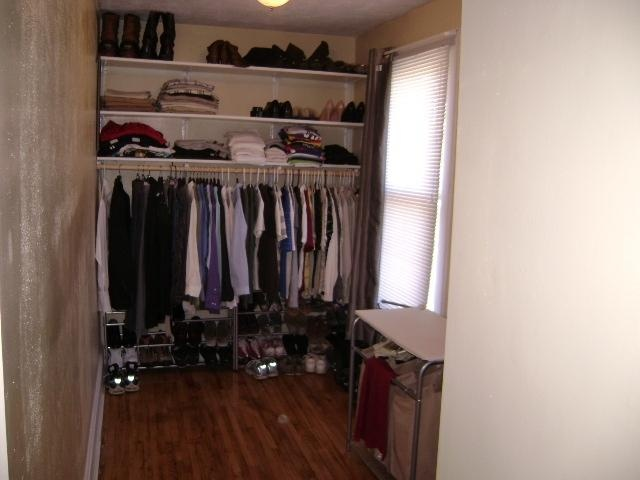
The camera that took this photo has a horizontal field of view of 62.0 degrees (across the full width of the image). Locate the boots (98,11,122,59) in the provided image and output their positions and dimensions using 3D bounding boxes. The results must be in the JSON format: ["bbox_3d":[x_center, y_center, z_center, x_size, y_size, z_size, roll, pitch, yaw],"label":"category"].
[{"bbox_3d":[-1.615,-1.565,4.067,0.148,0.353,0.173,0,10,-24],"label":"boots"}]

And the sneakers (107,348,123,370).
[{"bbox_3d":[-1.589,0.928,4.143,0.104,0.144,0.045,9,-11,-30],"label":"sneakers"}]

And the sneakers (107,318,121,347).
[{"bbox_3d":[-1.648,0.741,4.251,0.120,0.056,0.228,0,40,-26],"label":"sneakers"}]

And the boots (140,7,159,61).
[{"bbox_3d":[-1.379,-1.583,4.289,0.156,0.376,0.372,9,-2,-19],"label":"boots"}]

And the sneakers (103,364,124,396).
[{"bbox_3d":[-1.560,1.043,4.000,0.100,0.125,0.279,0,1,-21],"label":"sneakers"}]

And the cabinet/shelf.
[{"bbox_3d":[-0.737,-0.184,4.207,2.415,2.638,0.816,1,-3,-16],"label":"cabinet/shelf"}]

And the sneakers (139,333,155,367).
[{"bbox_3d":[-1.433,0.903,4.379,0.123,0.246,0.055,14,-34,-42],"label":"sneakers"}]

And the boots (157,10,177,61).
[{"bbox_3d":[-1.228,-1.625,4.282,0.129,0.327,0.323,1,15,-20],"label":"boots"}]

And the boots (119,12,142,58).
[{"bbox_3d":[-1.479,-1.602,4.208,0.128,0.303,0.310,6,19,-13],"label":"boots"}]

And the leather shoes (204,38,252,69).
[{"bbox_3d":[-0.750,-1.478,4.259,0.312,0.179,0.180,8,19,11],"label":"leather shoes"}]
